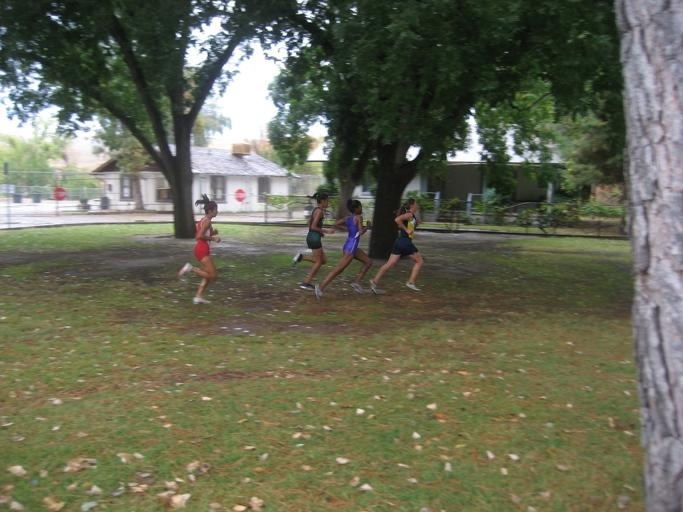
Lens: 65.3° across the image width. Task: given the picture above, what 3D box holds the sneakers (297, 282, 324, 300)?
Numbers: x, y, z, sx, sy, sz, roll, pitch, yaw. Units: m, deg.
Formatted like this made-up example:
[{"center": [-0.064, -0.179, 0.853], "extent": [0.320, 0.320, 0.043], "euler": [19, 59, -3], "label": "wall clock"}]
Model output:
[{"center": [-0.691, 0.769, 12.185], "extent": [0.335, 0.183, 0.649], "euler": [-21, 32, -20], "label": "sneakers"}]

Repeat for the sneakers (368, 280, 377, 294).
[{"center": [0.719, 0.703, 11.986], "extent": [0.182, 0.305, 0.113], "euler": [-28, 21, 8], "label": "sneakers"}]

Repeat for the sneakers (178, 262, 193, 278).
[{"center": [-3.784, 0.360, 12.912], "extent": [0.256, 0.530, 0.160], "euler": [25, 42, -38], "label": "sneakers"}]

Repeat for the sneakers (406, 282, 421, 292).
[{"center": [1.715, 0.742, 12.461], "extent": [0.480, 0.154, 0.136], "euler": [21, 14, -22], "label": "sneakers"}]
